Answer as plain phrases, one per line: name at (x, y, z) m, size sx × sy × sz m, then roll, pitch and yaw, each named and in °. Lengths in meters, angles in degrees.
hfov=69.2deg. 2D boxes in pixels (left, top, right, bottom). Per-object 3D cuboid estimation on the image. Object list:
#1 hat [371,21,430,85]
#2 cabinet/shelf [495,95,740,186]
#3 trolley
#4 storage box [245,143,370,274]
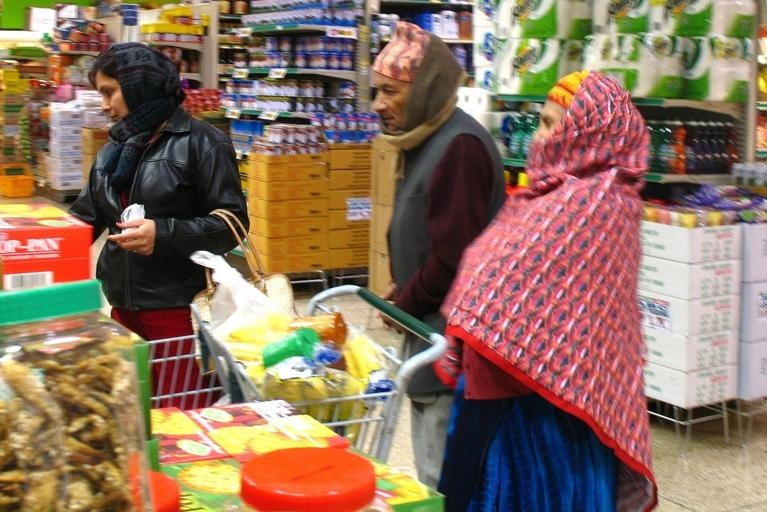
hat at (0.080, -0.804, 2.208) m, size 0.206 × 0.203 × 0.278 m, roll 25°, pitch 38°, yaw 19°
cabinet/shelf at (1.836, -0.808, 3.758) m, size 1.090 × 0.231 × 1.061 m, roll -1°, pitch 3°, yaw -18°
trolley at (-0.212, 0.351, 1.478) m, size 0.682 × 0.436 × 0.652 m, roll -3°, pitch 7°, yaw -17°
storage box at (-0.794, -0.525, 5.717) m, size 1.614 × 1.282 × 0.815 m, roll -3°, pitch 6°, yaw -31°
